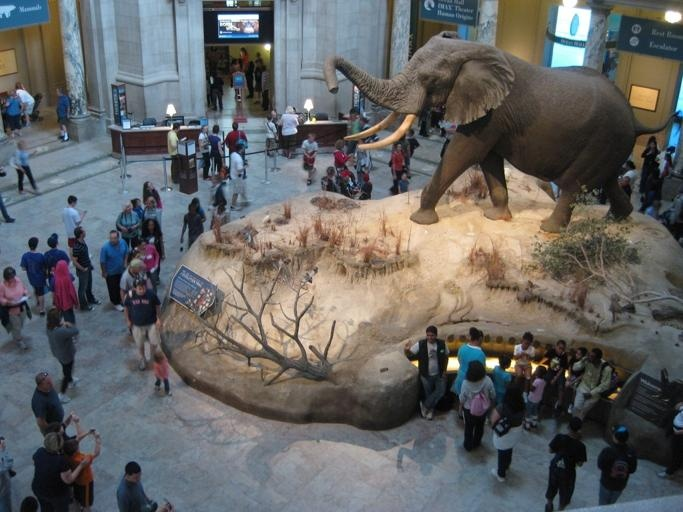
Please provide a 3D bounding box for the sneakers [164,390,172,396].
[{"bbox_3d":[-2.847,2.240,7.550,0.115,0.052,0.050,9,27,7],"label":"sneakers"}]

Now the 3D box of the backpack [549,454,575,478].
[{"bbox_3d":[2.565,2.407,5.309,0.250,0.287,0.097,6,19,18],"label":"backpack"}]

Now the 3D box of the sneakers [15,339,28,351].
[{"bbox_3d":[-5.861,1.629,8.421,0.106,0.117,0.392,-13,24,-35],"label":"sneakers"}]

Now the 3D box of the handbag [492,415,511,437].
[{"bbox_3d":[2.018,2.129,5.782,0.219,0.280,0.132,11,21,29],"label":"handbag"}]

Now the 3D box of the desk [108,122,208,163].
[{"bbox_3d":[-7.175,-4.016,16.429,2.587,0.929,0.638,6,29,18],"label":"desk"}]

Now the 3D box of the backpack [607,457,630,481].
[{"bbox_3d":[3.095,2.393,5.157,0.165,0.251,0.224,10,33,13],"label":"backpack"}]

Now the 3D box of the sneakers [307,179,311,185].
[{"bbox_3d":[-1.079,-2.445,15.211,0.125,0.167,0.370,-2,15,-2],"label":"sneakers"}]

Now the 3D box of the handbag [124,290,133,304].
[{"bbox_3d":[-3.689,0.698,7.949,0.174,0.193,0.128,24,-3,-25],"label":"handbag"}]

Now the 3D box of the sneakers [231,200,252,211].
[{"bbox_3d":[-2.960,-1.471,13.556,0.626,0.280,0.230,-10,26,6],"label":"sneakers"}]

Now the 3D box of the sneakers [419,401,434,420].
[{"bbox_3d":[1.314,2.376,7.071,0.114,0.134,0.294,-4,19,-24],"label":"sneakers"}]

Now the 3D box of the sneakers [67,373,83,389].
[{"bbox_3d":[-4.466,2.091,7.699,0.089,0.198,0.279,22,35,20],"label":"sneakers"}]

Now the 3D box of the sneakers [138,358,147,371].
[{"bbox_3d":[-3.502,1.899,8.073,0.088,0.110,0.238,-4,19,-31],"label":"sneakers"}]

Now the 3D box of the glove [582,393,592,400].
[{"bbox_3d":[3.496,1.988,6.532,0.089,0.073,0.027,-33,13,21],"label":"glove"}]

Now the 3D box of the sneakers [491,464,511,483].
[{"bbox_3d":[2.098,2.866,6.090,0.108,0.125,0.273,-2,16,-3],"label":"sneakers"}]

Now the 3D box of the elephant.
[{"bbox_3d":[3.343,-3.150,10.985,7.840,4.836,3.388,3,27,2],"label":"elephant"}]

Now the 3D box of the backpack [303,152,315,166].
[{"bbox_3d":[-1.066,-3.235,15.063,0.378,0.566,0.325,1,42,-7],"label":"backpack"}]

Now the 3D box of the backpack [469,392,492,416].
[{"bbox_3d":[1.860,1.978,6.201,0.274,0.384,0.194,-7,11,-23],"label":"backpack"}]

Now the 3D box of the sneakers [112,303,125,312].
[{"bbox_3d":[-4.672,1.052,9.635,0.310,0.149,0.129,13,22,30],"label":"sneakers"}]
